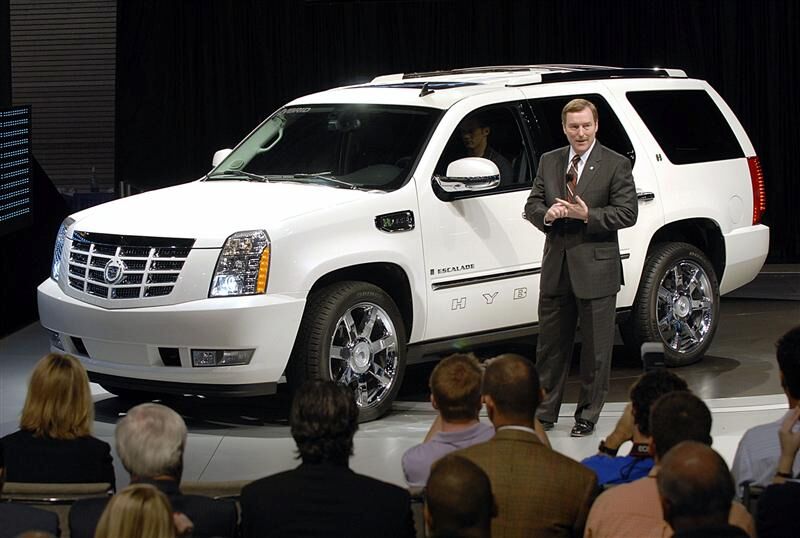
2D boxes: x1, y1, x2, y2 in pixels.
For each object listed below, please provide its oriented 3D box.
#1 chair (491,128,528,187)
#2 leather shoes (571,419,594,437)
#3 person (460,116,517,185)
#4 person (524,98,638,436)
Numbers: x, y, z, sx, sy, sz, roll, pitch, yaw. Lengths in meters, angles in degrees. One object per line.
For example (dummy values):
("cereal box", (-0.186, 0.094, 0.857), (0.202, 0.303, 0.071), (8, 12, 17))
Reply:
("chair", (1.050, -1.082, 6.162), (0.419, 0.630, 0.541), (2, 5, 18))
("leather shoes", (1.504, 1.280, 5.221), (0.249, 0.119, 0.108), (0, -3, -19))
("person", (0.755, -1.196, 6.245), (0.741, 0.671, 0.378), (2, 10, 42))
("person", (1.481, 0.001, 5.217), (0.864, 2.661, 0.543), (-1, -4, 19))
